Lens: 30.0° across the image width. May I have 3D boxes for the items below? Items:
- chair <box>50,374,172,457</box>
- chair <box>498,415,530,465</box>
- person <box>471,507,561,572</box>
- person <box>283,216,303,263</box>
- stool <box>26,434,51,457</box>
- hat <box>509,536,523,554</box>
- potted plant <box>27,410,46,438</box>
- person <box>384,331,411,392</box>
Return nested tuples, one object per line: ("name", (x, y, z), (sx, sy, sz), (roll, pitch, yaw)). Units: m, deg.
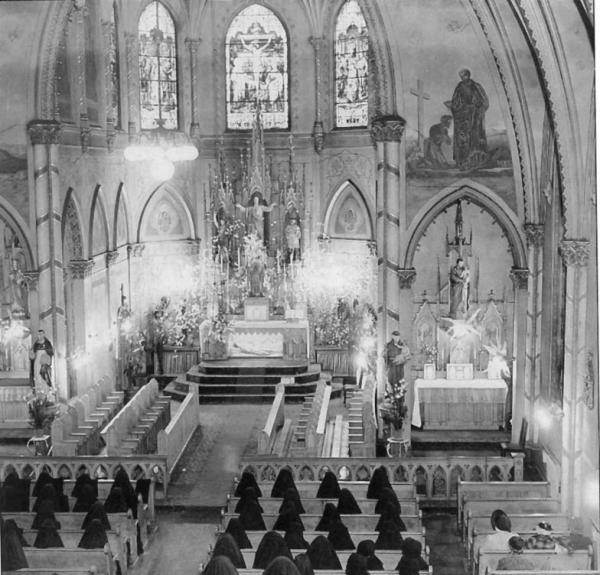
("chair", (-3.480, 2.565, 21.153), (1.541, 1.160, 3.251), (1, 3, 3))
("chair", (3.784, 2.645, 20.060), (0.499, 0.623, 0.835), (1, 3, 11))
("person", (2.913, 3.222, 14.564), (0.703, 0.686, 1.766), (5, -19, 4))
("person", (-0.164, -1.219, 27.524), (0.400, 1.115, 0.575), (0, 3, 0))
("stool", (-4.698, 2.847, 20.358), (0.357, 0.391, 0.491), (4, -4, -41))
("hat", (2.634, 3.162, 13.815), (0.125, 0.199, 0.179), (0, 23, 1))
("potted plant", (-4.794, 2.502, 20.707), (0.267, 0.456, 0.335), (-1, 3, -26))
("person", (1.677, 1.272, 19.926), (0.401, 1.050, 0.448), (-1, 3, -28))
